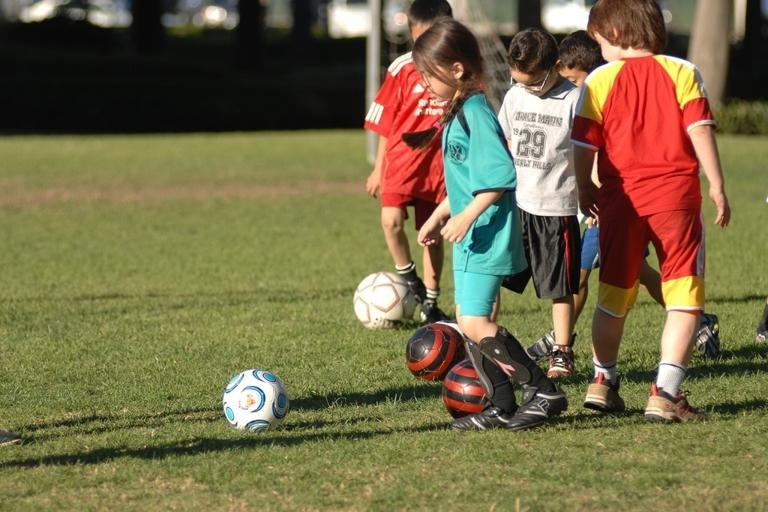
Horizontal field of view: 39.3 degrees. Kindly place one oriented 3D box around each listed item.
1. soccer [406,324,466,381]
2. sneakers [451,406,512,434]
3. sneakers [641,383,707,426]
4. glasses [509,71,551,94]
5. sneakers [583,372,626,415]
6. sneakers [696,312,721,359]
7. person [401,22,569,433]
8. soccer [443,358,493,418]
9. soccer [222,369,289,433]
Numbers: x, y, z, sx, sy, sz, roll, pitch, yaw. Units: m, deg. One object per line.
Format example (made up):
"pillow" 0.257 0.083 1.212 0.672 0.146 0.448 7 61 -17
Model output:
"soccer" 0.441 0.787 8.491 0.411 0.522 0.415 2 -7 6
"sneakers" 0.708 1.165 7.664 0.464 0.194 0.169 1 0 -6
"sneakers" 2.107 1.077 7.777 0.537 0.276 0.193 12 -3 -34
"glasses" 1.151 -1.333 8.178 0.202 0.227 0.064 11 26 44
"sneakers" 1.666 1.013 8.006 0.214 0.285 0.575 12 -5 35
"sneakers" 2.549 0.638 8.514 0.134 0.407 0.178 -4 -6 2
"person" 0.698 -0.220 7.591 1.094 2.854 0.569 4 12 19
"soccer" 0.565 0.964 7.782 0.346 0.440 0.351 -2 -6 -6
"soccer" -0.930 1.040 7.768 0.470 0.378 0.266 -2 12 -8
